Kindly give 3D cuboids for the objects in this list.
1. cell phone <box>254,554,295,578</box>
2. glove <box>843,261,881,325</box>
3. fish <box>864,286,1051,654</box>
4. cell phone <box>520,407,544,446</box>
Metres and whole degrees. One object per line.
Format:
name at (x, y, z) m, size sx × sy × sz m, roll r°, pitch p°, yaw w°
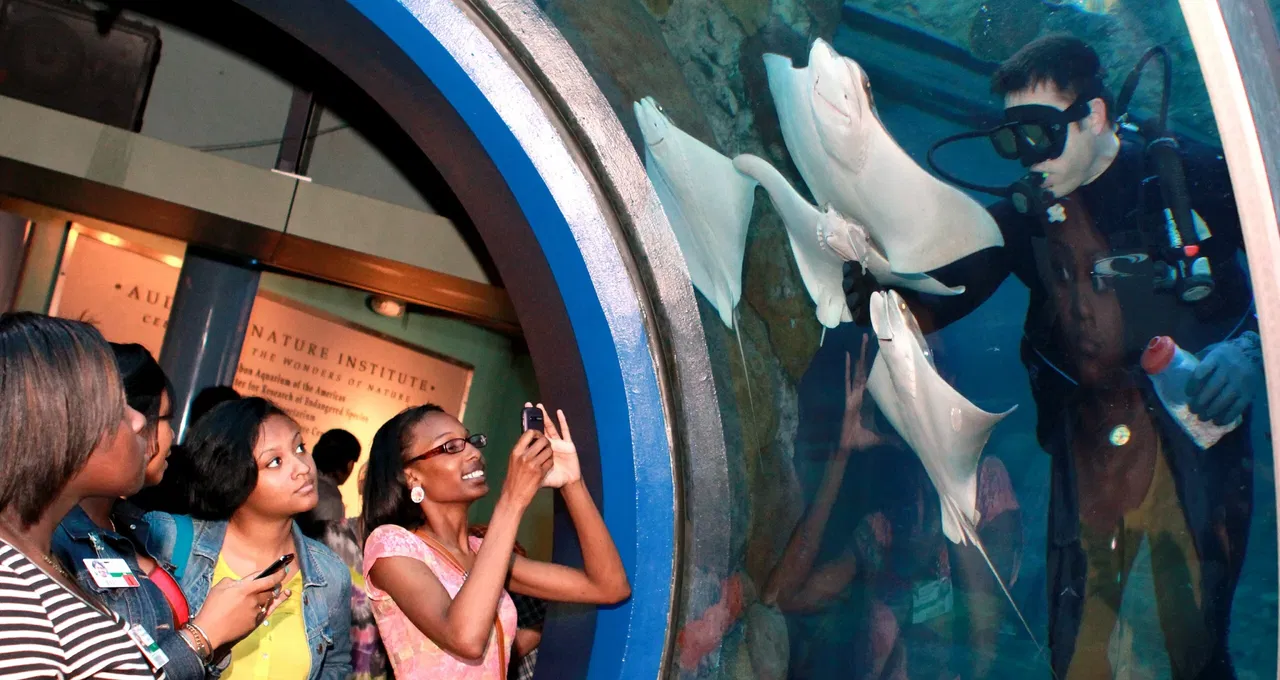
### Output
cell phone at (-1.324, 0.821, 3.449) m, size 0.121 × 0.095 × 0.078 m, roll 0°, pitch -21°, yaw 13°
glove at (0.909, -0.195, 3.930) m, size 0.075 × 0.174 × 0.233 m, roll 1°, pitch -52°, yaw 34°
fish at (1.184, 0.437, 3.758) m, size 0.159 × 1.255 × 0.768 m, roll -21°, pitch -8°, yaw -28°
cell phone at (-0.439, 0.352, 4.029) m, size 0.122 × 0.190 × 0.102 m, roll -2°, pitch 0°, yaw -35°
